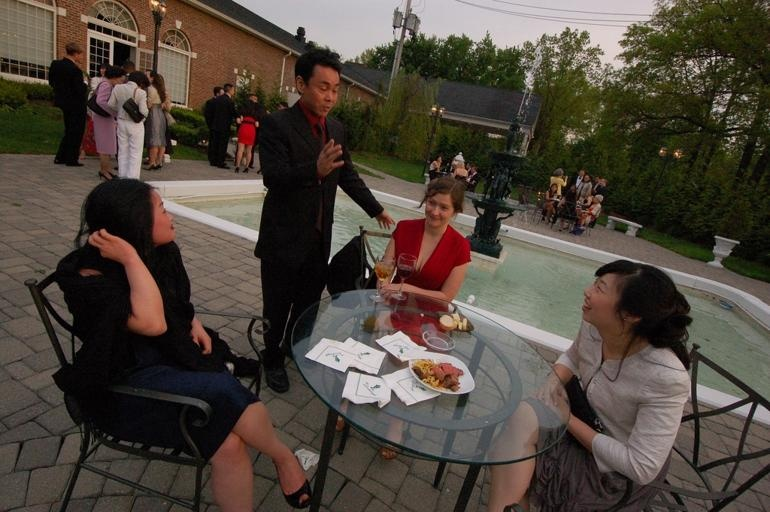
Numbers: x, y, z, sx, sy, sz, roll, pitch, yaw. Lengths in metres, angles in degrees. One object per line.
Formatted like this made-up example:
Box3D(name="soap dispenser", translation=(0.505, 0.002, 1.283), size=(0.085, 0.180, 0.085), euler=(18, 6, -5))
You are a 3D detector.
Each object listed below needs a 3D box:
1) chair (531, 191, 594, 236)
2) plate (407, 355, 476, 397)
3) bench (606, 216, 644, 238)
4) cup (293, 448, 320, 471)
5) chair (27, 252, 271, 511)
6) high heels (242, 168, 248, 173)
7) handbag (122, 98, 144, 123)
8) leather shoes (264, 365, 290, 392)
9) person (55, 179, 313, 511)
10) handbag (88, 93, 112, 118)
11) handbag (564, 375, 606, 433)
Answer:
Box3D(name="chair", translation=(5.582, -1.365, 13.324), size=(1.311, 0.611, 1.726), euler=(16, 42, 32))
Box3D(name="plate", translation=(0.389, 0.772, 2.875), size=(0.307, 0.076, 0.247), euler=(7, 25, -16))
Box3D(name="bench", translation=(8.410, -1.088, 15.724), size=(1.010, 0.461, 2.375), euler=(19, 18, 23))
Box3D(name="cup", translation=(-0.576, 1.507, 3.320), size=(0.223, 0.078, 0.171), euler=(7, 34, -19))
Box3D(name="chair", translation=(-1.589, 0.891, 2.942), size=(1.211, 1.597, 1.154), euler=(6, 24, -2))
Box3D(name="high heels", translation=(-3.457, -2.171, 11.151), size=(0.224, 0.112, 0.074), euler=(22, 25, 39))
Box3D(name="handbag", translation=(-4.098, -2.371, 7.249), size=(0.323, 0.372, 0.150), euler=(7, 19, -19))
Box3D(name="leather shoes", translation=(-0.911, 1.045, 3.786), size=(0.296, 0.121, 0.109), euler=(20, 19, 42))
Box3D(name="person", translation=(-1.325, 0.574, 2.867), size=(1.574, 1.949, 0.753), euler=(14, 17, 3))
Box3D(name="handbag", translation=(-4.848, -2.584, 7.613), size=(0.156, 0.418, 0.317), euler=(-23, 13, 48))
Box3D(name="handbag", translation=(1.311, 0.986, 3.000), size=(0.256, 0.106, 0.331), euler=(16, 52, -16))
